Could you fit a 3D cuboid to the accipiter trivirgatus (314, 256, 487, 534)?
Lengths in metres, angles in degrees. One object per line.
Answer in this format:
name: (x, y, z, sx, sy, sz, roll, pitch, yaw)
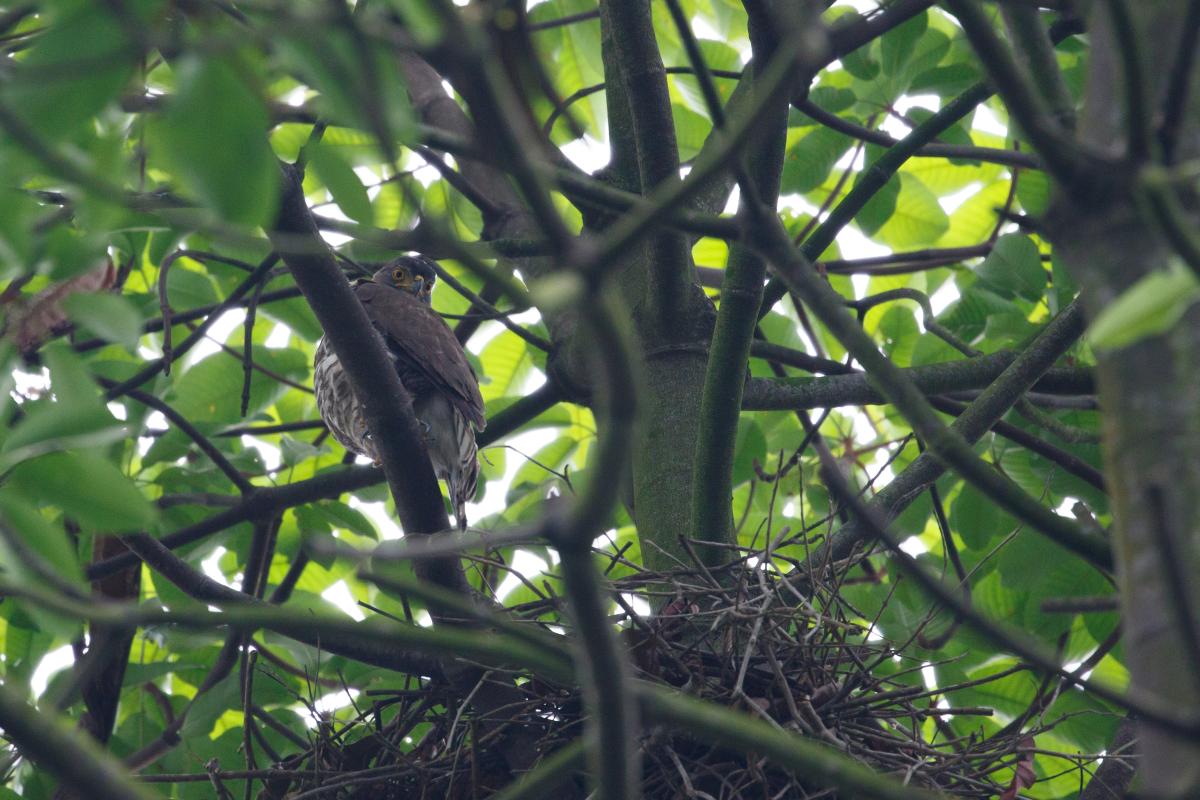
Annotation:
accipiter trivirgatus: (-0.582, 0.004, 5.363, 0.320, 1.081, 0.911, 1, -91, -28)
